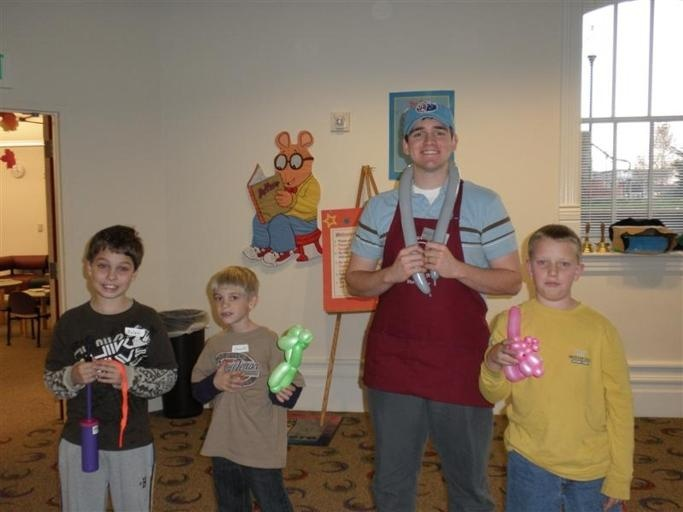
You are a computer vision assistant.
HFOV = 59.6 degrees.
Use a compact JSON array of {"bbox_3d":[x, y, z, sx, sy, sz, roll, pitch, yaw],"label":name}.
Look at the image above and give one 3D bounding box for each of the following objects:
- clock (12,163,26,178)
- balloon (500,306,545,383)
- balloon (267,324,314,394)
[{"bbox_3d":[-6.128,-1.639,11.290,0.251,0.241,0.145,-1,4,-15],"label":"clock"},{"bbox_3d":[0.823,0.393,2.682,0.165,0.326,0.228,1,7,18],"label":"balloon"},{"bbox_3d":[-0.276,0.532,3.117,0.195,0.334,0.287,2,7,26],"label":"balloon"}]
